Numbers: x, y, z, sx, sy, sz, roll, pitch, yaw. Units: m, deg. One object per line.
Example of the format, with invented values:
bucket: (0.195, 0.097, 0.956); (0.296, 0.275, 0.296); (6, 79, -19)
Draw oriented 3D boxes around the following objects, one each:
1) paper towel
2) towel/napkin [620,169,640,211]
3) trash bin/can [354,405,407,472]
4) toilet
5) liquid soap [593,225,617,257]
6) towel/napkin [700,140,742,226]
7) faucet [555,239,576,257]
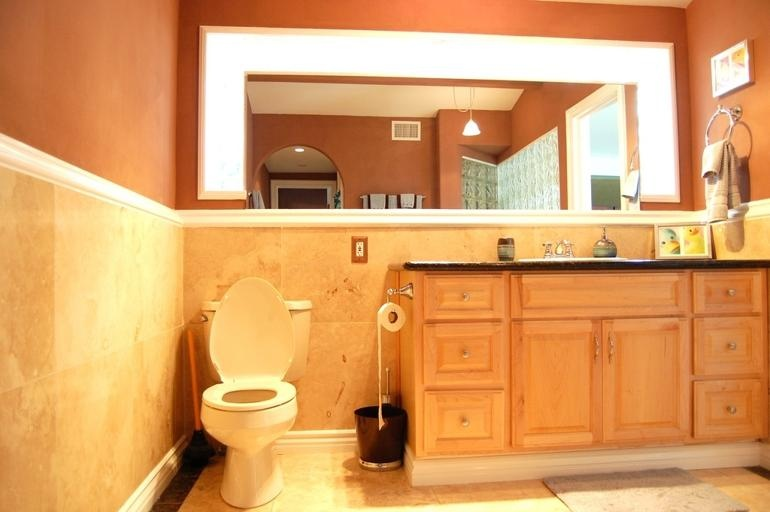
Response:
paper towel: (0.031, 0.544, 3.518); (0.144, 0.530, 0.092); (7, 7, 19)
towel/napkin: (1.557, -0.411, 4.021); (0.153, 0.227, 0.069); (6, -2, 19)
trash bin/can: (-0.013, 1.004, 3.573); (0.304, 0.274, 0.344); (1, 0, 1)
toilet: (-0.709, 0.699, 3.378); (0.473, 1.168, 0.471); (-1, -1, -8)
liquid soap: (1.334, -0.093, 3.888); (0.164, 0.243, 0.164); (0, -1, 5)
towel/napkin: (1.962, -0.438, 3.727); (0.193, 0.471, 0.136); (-1, -1, 27)
faucet: (1.096, -0.039, 3.896); (0.165, 0.146, 0.087); (0, 5, 9)
